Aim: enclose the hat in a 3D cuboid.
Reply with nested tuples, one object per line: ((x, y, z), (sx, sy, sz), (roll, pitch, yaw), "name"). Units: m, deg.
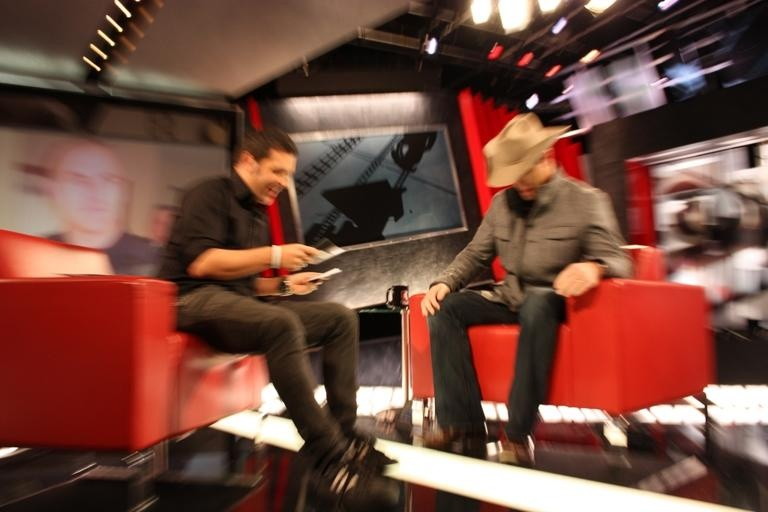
((0.829, -0.661, 2.935), (0.470, 0.176, 0.440), (-39, 19, 1), "hat")

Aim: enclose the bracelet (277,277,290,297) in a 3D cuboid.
((-0.570, 0.173, 2.859), (0.075, 0.096, 0.037), (14, 23, 37), "bracelet")

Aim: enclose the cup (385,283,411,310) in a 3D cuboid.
((0.109, 0.281, 3.506), (0.177, 0.201, 0.152), (1, -4, 18), "cup")
